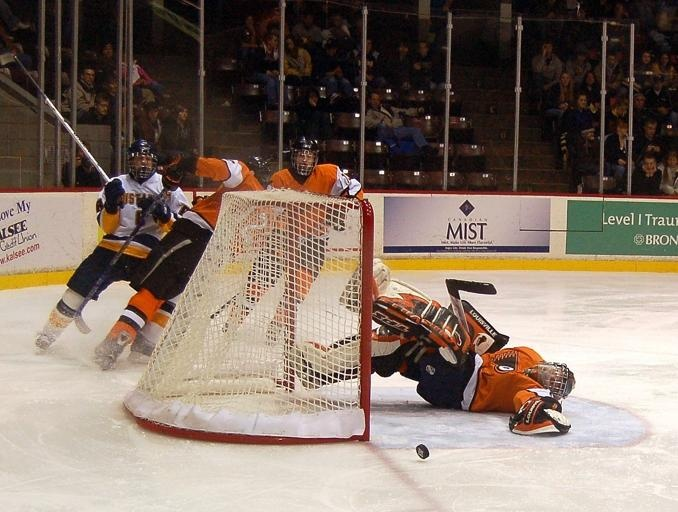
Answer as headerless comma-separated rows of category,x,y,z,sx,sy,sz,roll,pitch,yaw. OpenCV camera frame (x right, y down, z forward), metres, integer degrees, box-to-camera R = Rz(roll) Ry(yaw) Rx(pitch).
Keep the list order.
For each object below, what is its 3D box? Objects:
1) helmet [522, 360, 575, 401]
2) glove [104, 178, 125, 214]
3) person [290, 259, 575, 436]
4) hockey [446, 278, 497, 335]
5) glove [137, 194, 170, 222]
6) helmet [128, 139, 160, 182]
helmet,1.130,0.679,4.355,0.181,0.195,0.190,-6,12,-36
glove,-1.565,-0.412,5.583,0.090,0.227,0.173,-10,24,-32
person,0.446,0.692,4.474,1.143,0.398,1.105,29,14,-6
hockey,0.720,0.231,4.700,0.334,0.349,0.229,3,17,2
glove,-1.284,-0.333,5.625,0.178,0.102,0.228,10,0,-23
helmet,-1.430,-0.690,5.788,0.227,0.282,0.292,-2,15,-19
